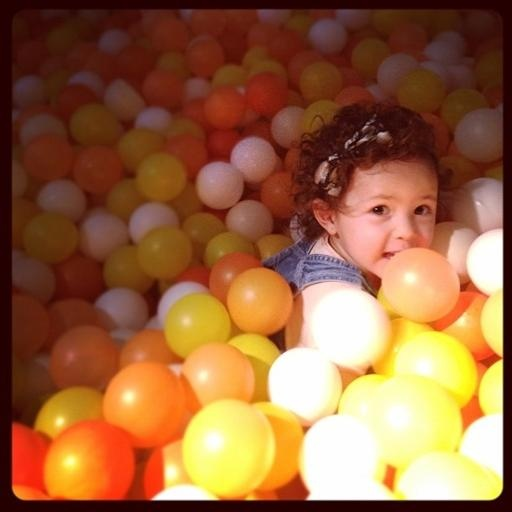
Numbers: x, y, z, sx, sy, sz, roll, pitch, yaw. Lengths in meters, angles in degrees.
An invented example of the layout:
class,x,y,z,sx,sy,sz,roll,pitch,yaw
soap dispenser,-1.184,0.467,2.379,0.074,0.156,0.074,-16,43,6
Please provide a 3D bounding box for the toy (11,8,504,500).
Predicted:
class,x,y,z,sx,sy,sz,roll,pitch,yaw
toy,-0.060,0.194,2.164,1.442,0.519,1.718,-3,55,3
